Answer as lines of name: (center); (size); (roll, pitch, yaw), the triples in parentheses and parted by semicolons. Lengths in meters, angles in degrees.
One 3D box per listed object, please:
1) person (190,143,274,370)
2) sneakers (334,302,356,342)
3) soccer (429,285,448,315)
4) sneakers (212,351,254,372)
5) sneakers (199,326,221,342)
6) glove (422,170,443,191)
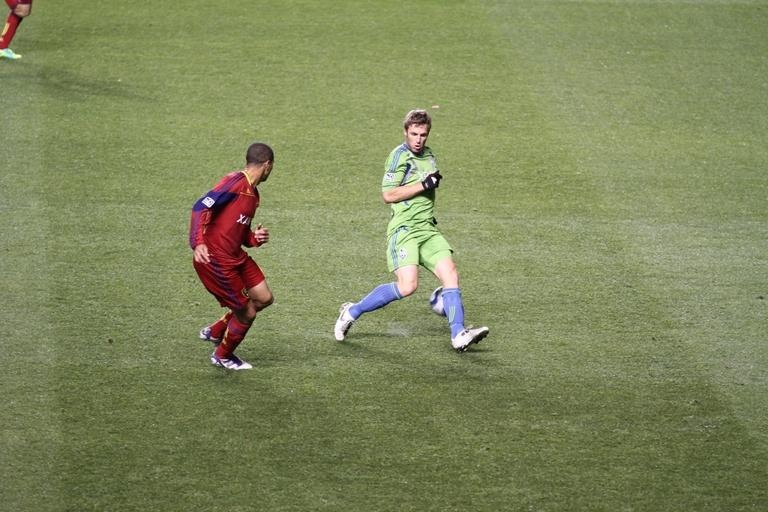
person: (-1.446, 0.008, 11.313); (0.791, 2.156, 0.632); (-4, 23, -25)
sneakers: (-0.393, 0.663, 12.068); (0.223, 0.408, 0.165); (-1, -19, 31)
soccer: (0.572, 0.479, 12.006); (0.152, 0.280, 0.165); (-4, 56, 12)
sneakers: (-1.488, 1.029, 11.527); (0.436, 0.159, 0.152); (6, 8, -9)
sneakers: (-1.803, 0.778, 11.822); (0.311, 0.122, 0.105); (7, 11, 21)
glove: (0.485, -0.768, 11.905); (0.161, 0.175, 0.104); (-4, 22, -26)
